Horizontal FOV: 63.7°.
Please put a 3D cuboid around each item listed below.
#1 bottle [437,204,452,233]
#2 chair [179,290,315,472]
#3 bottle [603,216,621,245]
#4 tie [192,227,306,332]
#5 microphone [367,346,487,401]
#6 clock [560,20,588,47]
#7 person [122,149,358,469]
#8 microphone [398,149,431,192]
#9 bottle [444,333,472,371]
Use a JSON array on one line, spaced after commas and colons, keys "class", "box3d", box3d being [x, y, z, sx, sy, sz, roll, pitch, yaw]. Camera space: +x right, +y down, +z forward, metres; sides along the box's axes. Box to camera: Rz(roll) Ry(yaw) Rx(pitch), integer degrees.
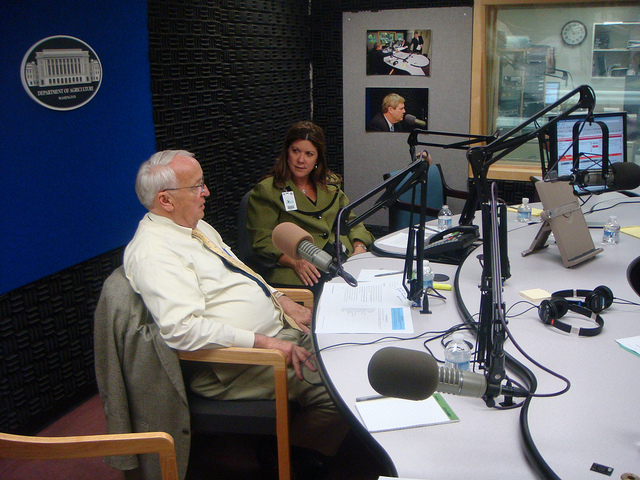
[{"class": "bottle", "box3d": [0.907, -0.170, 3.775, 0.092, 0.161, 0.369, 0, 9, 14]}, {"class": "chair", "box3d": [-0.324, 0.723, 2.966, 0.650, 1.058, 0.595, 1, 8, 9]}, {"class": "bottle", "box3d": [1.955, -0.075, 3.464, 0.097, 0.175, 0.198, 3, 10, 29]}, {"class": "tie", "box3d": [-0.394, 0.244, 2.963, 0.097, 0.780, 0.102, -37, 17, 43]}, {"class": "microphone", "box3d": [0.363, 0.417, 1.741, 0.392, 0.175, 0.179, 11, 7, -19]}, {"class": "clock", "box3d": [2.638, -2.154, 5.350, 0.238, 0.257, 0.027, 3, 23, 17]}, {"class": "person", "box3d": [-0.364, 0.400, 2.865, 1.176, 1.760, 0.922, 2, 13, 9]}, {"class": "microphone", "box3d": [0.431, -0.402, 2.397, 0.119, 0.094, 0.090, 1, -23, -29]}, {"class": "bottle", "box3d": [0.594, 0.466, 2.223, 0.117, 0.155, 0.209, 0, 9, 16]}]
